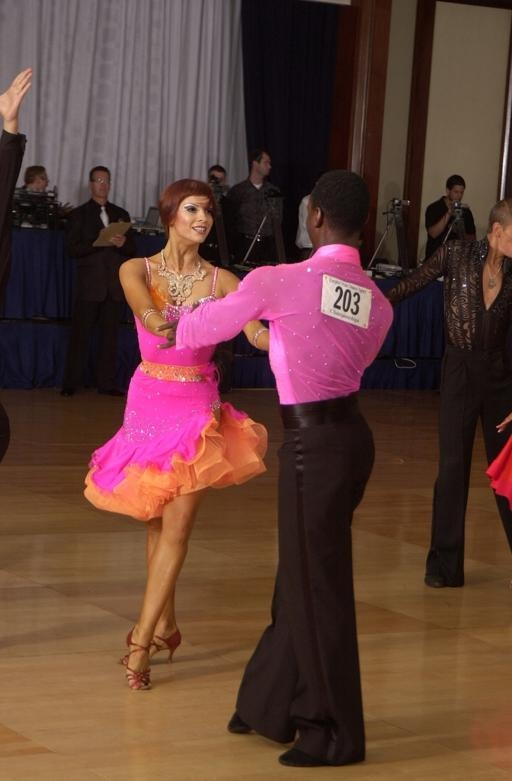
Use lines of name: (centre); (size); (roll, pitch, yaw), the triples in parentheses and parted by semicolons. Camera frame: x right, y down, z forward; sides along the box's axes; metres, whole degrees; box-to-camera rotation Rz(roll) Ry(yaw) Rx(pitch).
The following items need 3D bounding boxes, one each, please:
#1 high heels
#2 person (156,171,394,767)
high heels: (-0.258, 0.703, 1.798); (0.078, 0.128, 0.230); (0, -10, 18)
person: (0.063, 0.171, 1.264); (0.363, 0.845, 0.298); (5, -2, -40)
